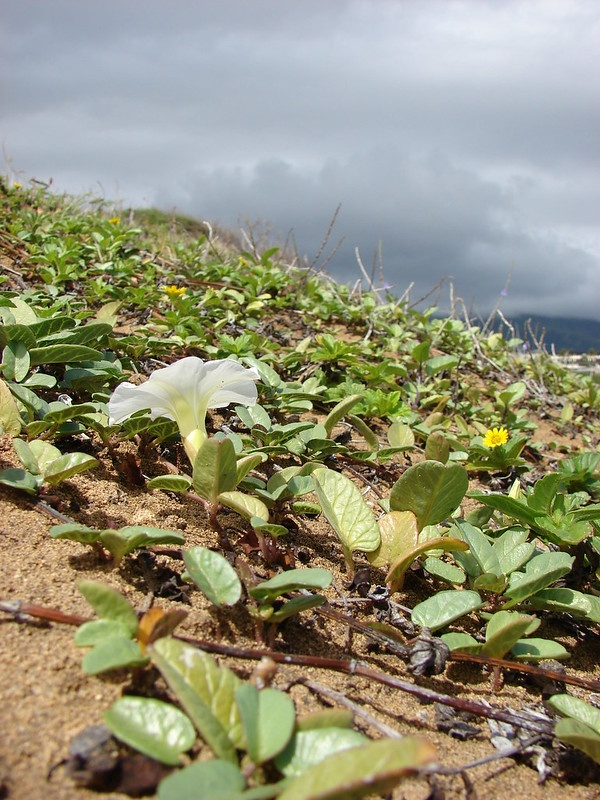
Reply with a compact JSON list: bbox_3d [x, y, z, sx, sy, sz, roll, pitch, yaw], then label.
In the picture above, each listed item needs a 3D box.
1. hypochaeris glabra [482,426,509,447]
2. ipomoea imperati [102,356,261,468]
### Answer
[{"bbox_3d":[1.001,0.201,3.606,0.073,0.119,0.177,5,6,-11],"label":"hypochaeris glabra"},{"bbox_3d":[-0.400,-0.009,2.335,0.433,0.251,0.411,-18,49,-38],"label":"ipomoea imperati"}]
